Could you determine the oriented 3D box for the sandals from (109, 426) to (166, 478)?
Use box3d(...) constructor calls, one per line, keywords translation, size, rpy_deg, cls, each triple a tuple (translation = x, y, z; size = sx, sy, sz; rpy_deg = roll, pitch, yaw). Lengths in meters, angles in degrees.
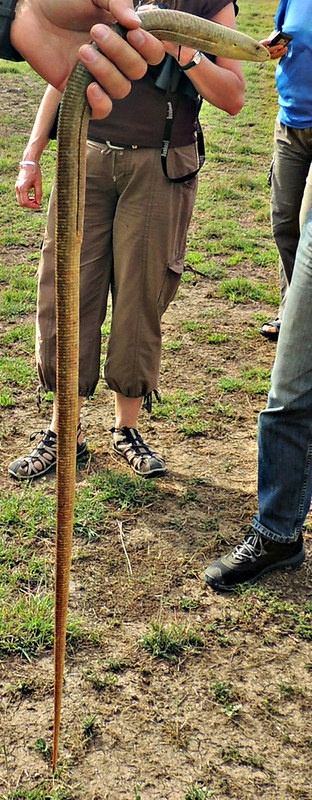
box3d(translation=(-0.117, 0.256, 4.180), size=(0.149, 0.187, 0.409), rpy_deg=(-17, 35, -27), cls="sandals")
